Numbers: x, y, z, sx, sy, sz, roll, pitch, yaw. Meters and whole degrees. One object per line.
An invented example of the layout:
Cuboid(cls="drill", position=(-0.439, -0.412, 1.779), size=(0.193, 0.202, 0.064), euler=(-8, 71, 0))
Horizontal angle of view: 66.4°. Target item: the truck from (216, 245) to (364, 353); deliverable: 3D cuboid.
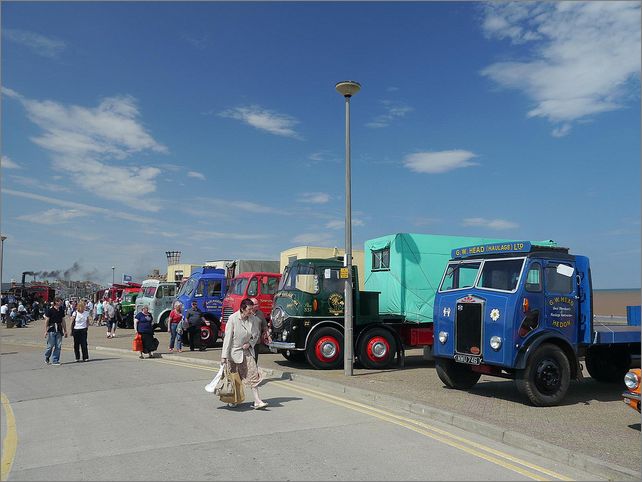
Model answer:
Cuboid(cls="truck", position=(-1.844, 1.813, 22.456), size=(5.232, 3.177, 4.956), euler=(3, -5, -32))

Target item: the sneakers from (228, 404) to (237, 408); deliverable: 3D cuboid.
Cuboid(cls="sneakers", position=(-1.894, 3.544, 10.493), size=(0.086, 0.088, 0.217), euler=(3, -10, -25))

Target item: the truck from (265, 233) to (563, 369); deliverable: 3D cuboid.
Cuboid(cls="truck", position=(3.240, 2.039, 17.604), size=(10.152, 4.519, 3.685), euler=(3, -3, -22))

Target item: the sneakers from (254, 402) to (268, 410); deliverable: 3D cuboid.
Cuboid(cls="sneakers", position=(-1.256, 3.469, 10.237), size=(0.122, 0.138, 0.333), euler=(12, -24, -34))

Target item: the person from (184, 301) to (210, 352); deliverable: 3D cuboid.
Cuboid(cls="person", position=(-5.276, 3.599, 20.721), size=(0.760, 2.066, 1.590), euler=(3, -8, -2))

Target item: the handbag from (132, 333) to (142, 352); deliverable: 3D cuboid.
Cuboid(cls="handbag", position=(-6.781, 3.815, 18.261), size=(0.314, 0.676, 0.316), euler=(5, -8, -20))

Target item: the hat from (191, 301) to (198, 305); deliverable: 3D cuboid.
Cuboid(cls="hat", position=(-5.475, 2.713, 21.135), size=(0.191, 0.230, 0.168), euler=(-1, -4, 16))
